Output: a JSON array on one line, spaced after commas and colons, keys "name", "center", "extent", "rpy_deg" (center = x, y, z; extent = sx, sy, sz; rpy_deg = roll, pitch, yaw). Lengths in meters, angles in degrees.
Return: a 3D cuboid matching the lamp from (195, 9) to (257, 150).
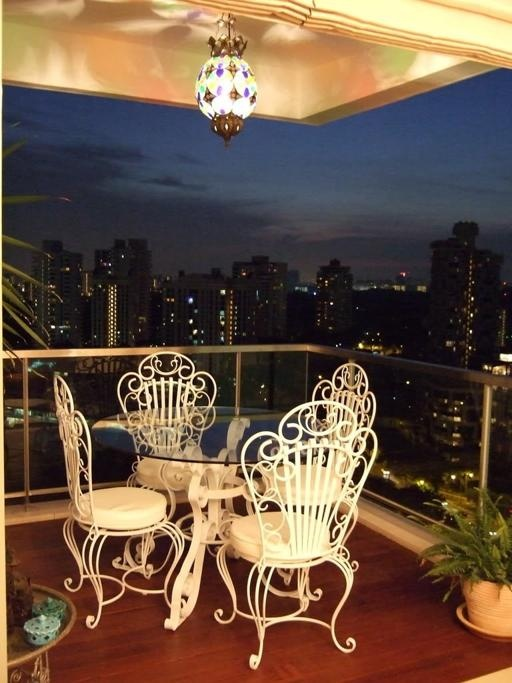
[{"name": "lamp", "center": [-0.164, -1.420, 2.968], "extent": [0.291, 0.710, 0.800], "rpy_deg": [2, 0, -6]}]
